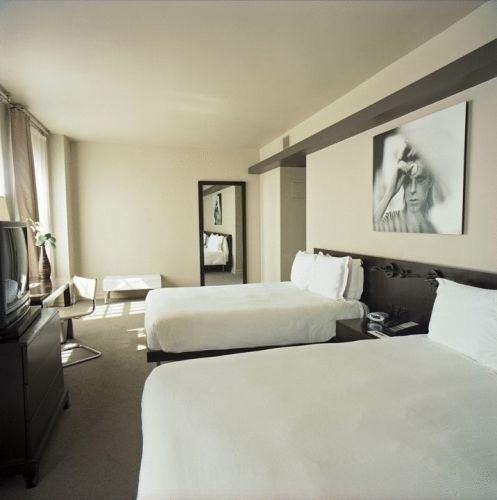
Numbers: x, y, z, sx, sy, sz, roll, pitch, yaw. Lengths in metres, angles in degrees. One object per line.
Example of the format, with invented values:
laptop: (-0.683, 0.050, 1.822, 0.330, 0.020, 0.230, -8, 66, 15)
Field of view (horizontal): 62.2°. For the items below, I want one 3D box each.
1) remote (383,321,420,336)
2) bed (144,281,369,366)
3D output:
remote: (1.145, 0.571, 3.029, 0.361, 0.034, 0.171, -5, 8, -30)
bed: (-0.081, 0.573, 3.414, 1.102, 0.304, 0.965, 0, 1, -11)
